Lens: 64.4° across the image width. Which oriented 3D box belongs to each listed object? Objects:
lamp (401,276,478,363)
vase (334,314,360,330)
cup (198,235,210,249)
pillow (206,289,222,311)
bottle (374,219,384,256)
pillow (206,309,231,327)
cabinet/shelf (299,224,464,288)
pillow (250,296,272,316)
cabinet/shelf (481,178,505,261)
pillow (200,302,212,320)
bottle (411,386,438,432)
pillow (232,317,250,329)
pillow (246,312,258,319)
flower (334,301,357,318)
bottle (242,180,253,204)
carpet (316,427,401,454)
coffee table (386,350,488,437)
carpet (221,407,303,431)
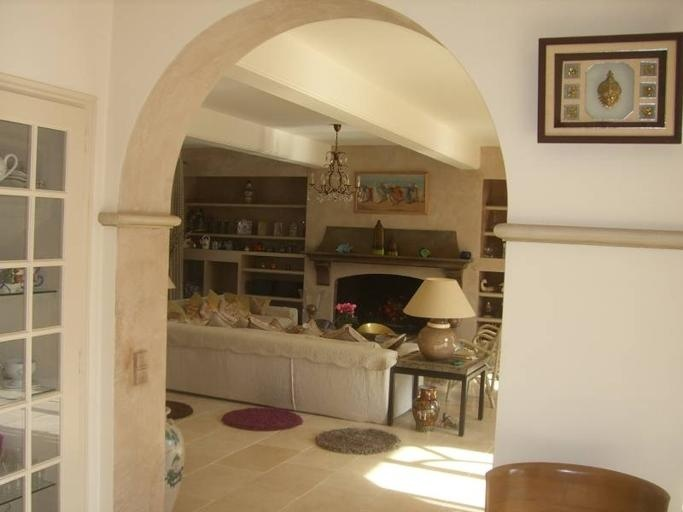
[{"bbox_3d":[0.989,0.599,5.539,0.810,0.818,0.815,-2,5,-24],"label":"lamp"},{"bbox_3d":[0.067,1.087,8.697,0.325,0.200,0.321,4,14,18],"label":"vase"},{"bbox_3d":[-2.843,-0.270,11.231,0.205,0.270,0.142,20,-6,1],"label":"cup"},{"bbox_3d":[-1.940,0.655,8.128,0.076,0.253,0.244,-24,-37,29],"label":"pillow"},{"bbox_3d":[0.684,-0.336,9.854,0.216,0.630,0.397,3,4,3],"label":"bottle"},{"bbox_3d":[-1.499,0.748,6.542,0.175,0.120,0.238,-2,2,-45],"label":"pillow"},{"bbox_3d":[0.813,0.064,9.830,2.808,1.153,0.426,3,5,17],"label":"cabinet/shelf"},{"bbox_3d":[-1.355,0.789,8.802,0.327,0.321,0.136,6,-14,-8],"label":"pillow"},{"bbox_3d":[2.721,-0.678,9.702,0.413,1.402,0.850,4,4,17],"label":"cabinet/shelf"},{"bbox_3d":[-1.689,0.697,6.818,0.155,0.060,0.197,-30,17,33],"label":"pillow"},{"bbox_3d":[0.853,1.530,5.477,0.277,0.443,0.243,2,4,-6],"label":"bottle"},{"bbox_3d":[-1.187,0.794,6.385,0.137,0.121,0.136,9,28,18],"label":"pillow"},{"bbox_3d":[-1.301,0.851,7.769,0.161,0.058,0.196,6,-1,13],"label":"pillow"},{"bbox_3d":[0.070,0.865,8.798,0.334,0.226,0.333,3,2,-4],"label":"flower"},{"bbox_3d":[-1.922,-1.315,11.137,0.195,0.485,0.286,1,4,-10],"label":"bottle"},{"bbox_3d":[0.150,1.714,5.066,0.801,0.036,0.589,2,4,-7],"label":"carpet"},{"bbox_3d":[1.046,1.324,5.691,0.789,0.651,0.896,0,-1,29],"label":"coffee table"},{"bbox_3d":[-0.812,1.662,5.565,0.831,0.021,0.686,3,4,12],"label":"carpet"}]
